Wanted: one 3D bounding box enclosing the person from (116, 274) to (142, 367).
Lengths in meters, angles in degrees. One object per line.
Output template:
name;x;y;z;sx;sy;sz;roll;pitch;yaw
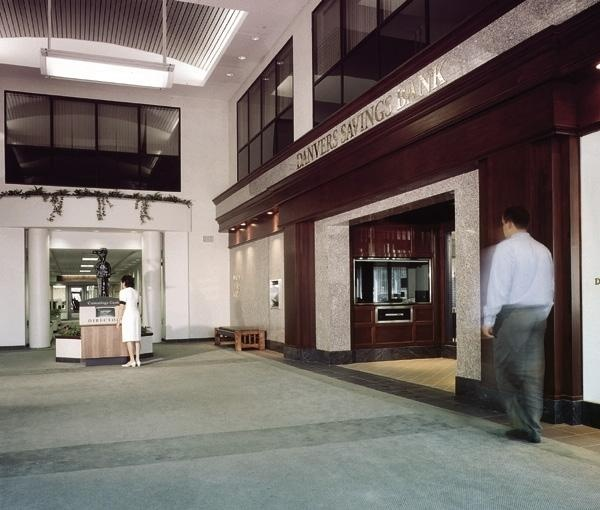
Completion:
person;-3.339;1.280;9.337;0.403;1.772;0.376;1;-5;-22

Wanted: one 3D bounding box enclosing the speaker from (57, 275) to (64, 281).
speaker;-14.773;1.448;29.485;0.360;0.288;2.251;2;-6;-27

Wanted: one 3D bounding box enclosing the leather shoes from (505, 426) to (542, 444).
leather shoes;1.931;1.552;4.171;0.106;0.133;0.304;-1;4;-29

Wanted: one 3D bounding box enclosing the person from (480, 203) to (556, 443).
person;1.925;0.697;4.178;0.597;1.782;0.258;1;-5;-17

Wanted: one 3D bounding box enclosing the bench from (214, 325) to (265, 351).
bench;-1.632;2.191;12.706;0.816;0.541;2.673;1;-6;-23
